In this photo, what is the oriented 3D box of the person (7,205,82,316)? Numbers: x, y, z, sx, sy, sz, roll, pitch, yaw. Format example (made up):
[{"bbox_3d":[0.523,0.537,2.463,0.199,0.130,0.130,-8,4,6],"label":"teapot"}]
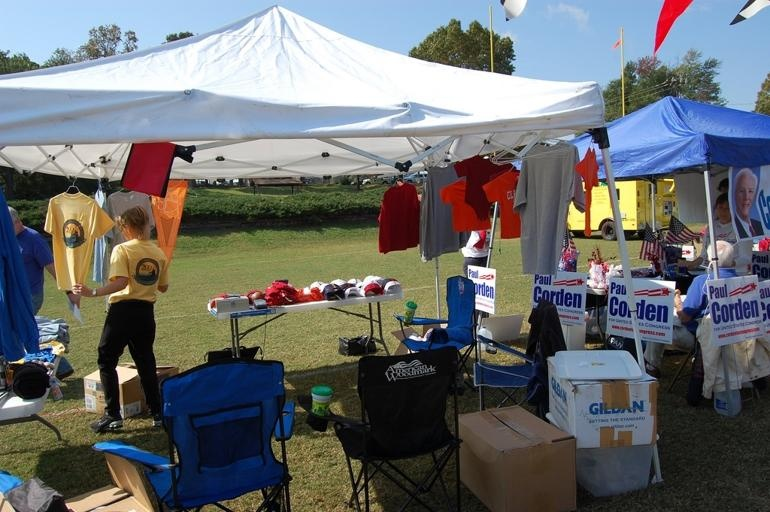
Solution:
[{"bbox_3d":[-4.214,0.127,8.004,0.404,1.147,0.777,-2,2,-29],"label":"person"}]

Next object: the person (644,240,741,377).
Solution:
[{"bbox_3d":[3.694,0.703,8.024,0.801,1.902,1.027,-10,19,-29],"label":"person"}]

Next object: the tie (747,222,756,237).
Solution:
[{"bbox_3d":[4.545,-0.331,8.184,0.143,0.176,0.041,-2,2,-38],"label":"tie"}]

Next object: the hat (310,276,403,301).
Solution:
[{"bbox_3d":[-0.400,0.410,8.572,1.292,0.248,0.384,-2,2,-19],"label":"hat"}]

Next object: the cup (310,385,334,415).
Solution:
[{"bbox_3d":[-0.568,1.308,6.157,0.237,0.250,0.237,2,5,0],"label":"cup"}]

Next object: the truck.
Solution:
[{"bbox_3d":[5.734,-1.114,15.640,1.749,1.572,2.911,-2,6,-29],"label":"truck"}]

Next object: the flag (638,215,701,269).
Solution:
[{"bbox_3d":[4.624,-0.224,10.785,1.242,0.953,0.166,-9,4,-11],"label":"flag"}]

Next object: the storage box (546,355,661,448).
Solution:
[{"bbox_3d":[2.103,1.316,6.570,0.861,0.789,0.864,-1,3,-1],"label":"storage box"}]

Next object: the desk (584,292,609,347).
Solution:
[{"bbox_3d":[2.958,0.840,9.283,0.260,0.789,0.821,-1,2,16],"label":"desk"}]

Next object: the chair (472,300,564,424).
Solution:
[{"bbox_3d":[1.501,1.272,7.655,1.103,1.842,1.392,0,-2,4],"label":"chair"}]

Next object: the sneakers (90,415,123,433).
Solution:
[{"bbox_3d":[-3.121,1.884,7.493,0.356,0.201,0.153,5,-3,-14],"label":"sneakers"}]
